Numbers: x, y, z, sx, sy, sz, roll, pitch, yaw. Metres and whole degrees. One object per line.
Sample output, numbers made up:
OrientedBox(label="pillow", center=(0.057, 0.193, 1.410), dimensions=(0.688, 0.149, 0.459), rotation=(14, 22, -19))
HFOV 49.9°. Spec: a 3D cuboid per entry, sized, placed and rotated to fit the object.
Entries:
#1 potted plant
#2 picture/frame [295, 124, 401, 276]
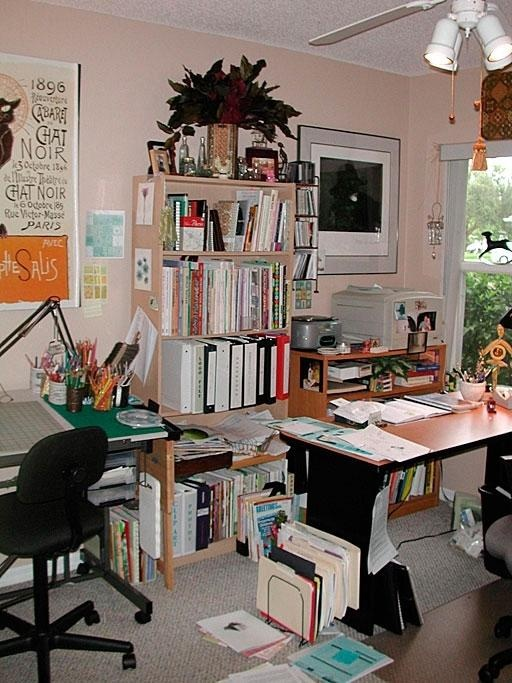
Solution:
OrientedBox(label="potted plant", center=(-0.175, -0.977, 2.811), dimensions=(0.738, 0.605, 0.661), rotation=(-3, 5, -39))
OrientedBox(label="picture/frame", center=(0.555, -0.925, 3.500), dimensions=(1.080, 1.046, 0.055), rotation=(-4, 6, -39))
